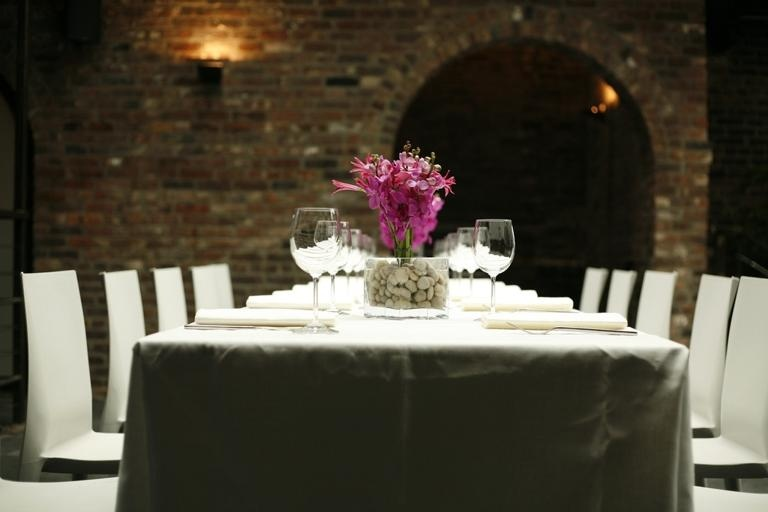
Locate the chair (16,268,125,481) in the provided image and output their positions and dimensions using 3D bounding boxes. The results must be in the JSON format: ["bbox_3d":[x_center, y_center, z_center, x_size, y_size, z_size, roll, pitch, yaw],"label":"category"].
[{"bbox_3d":[-1.739,0.642,5.599,0.528,1.075,0.481,-2,11,-11],"label":"chair"}]

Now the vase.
[{"bbox_3d":[0.112,0.183,5.410,0.297,0.277,0.336,2,-4,-13],"label":"vase"}]

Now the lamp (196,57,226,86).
[{"bbox_3d":[-1.390,-1.419,8.061,0.169,0.224,0.201,3,-3,-7],"label":"lamp"}]

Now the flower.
[{"bbox_3d":[0.066,-0.281,5.683,0.444,0.674,0.469,-3,11,-2],"label":"flower"}]
